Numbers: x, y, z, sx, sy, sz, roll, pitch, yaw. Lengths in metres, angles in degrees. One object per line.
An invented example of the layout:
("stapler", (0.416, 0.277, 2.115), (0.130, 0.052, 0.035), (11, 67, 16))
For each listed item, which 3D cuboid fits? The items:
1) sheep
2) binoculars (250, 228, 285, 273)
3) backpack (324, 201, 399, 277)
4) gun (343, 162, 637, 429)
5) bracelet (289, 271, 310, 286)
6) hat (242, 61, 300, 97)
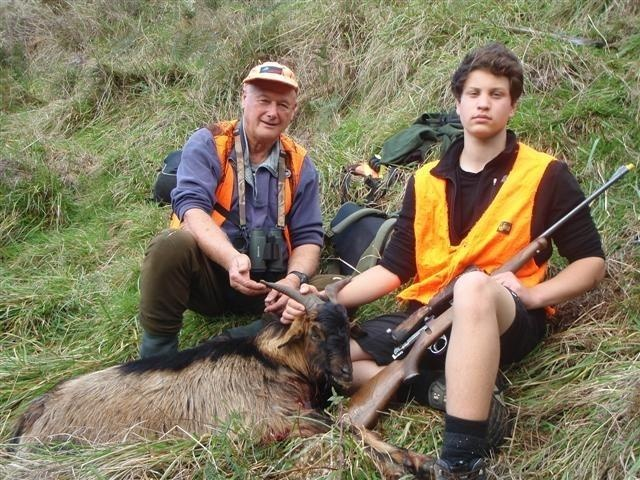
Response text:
("sheep", (-0.662, 1.071, 4.501), (3.100, 1.985, 1.137), (-7, -21, -7))
("binoculars", (-0.429, 0.089, 4.589), (0.285, 0.342, 0.125), (-3, 0, -20))
("backpack", (0.377, 0.013, 5.247), (0.330, 0.509, 0.475), (18, 10, -37))
("gun", (1.227, 0.435, 3.962), (2.340, 0.275, 0.476), (-42, 41, -20))
("bracelet", (-0.159, 0.299, 4.541), (0.097, 0.081, 0.105), (-9, 1, 9))
("hat", (-0.397, -1.411, 4.871), (0.425, 0.318, 0.621), (4, 9, 0))
